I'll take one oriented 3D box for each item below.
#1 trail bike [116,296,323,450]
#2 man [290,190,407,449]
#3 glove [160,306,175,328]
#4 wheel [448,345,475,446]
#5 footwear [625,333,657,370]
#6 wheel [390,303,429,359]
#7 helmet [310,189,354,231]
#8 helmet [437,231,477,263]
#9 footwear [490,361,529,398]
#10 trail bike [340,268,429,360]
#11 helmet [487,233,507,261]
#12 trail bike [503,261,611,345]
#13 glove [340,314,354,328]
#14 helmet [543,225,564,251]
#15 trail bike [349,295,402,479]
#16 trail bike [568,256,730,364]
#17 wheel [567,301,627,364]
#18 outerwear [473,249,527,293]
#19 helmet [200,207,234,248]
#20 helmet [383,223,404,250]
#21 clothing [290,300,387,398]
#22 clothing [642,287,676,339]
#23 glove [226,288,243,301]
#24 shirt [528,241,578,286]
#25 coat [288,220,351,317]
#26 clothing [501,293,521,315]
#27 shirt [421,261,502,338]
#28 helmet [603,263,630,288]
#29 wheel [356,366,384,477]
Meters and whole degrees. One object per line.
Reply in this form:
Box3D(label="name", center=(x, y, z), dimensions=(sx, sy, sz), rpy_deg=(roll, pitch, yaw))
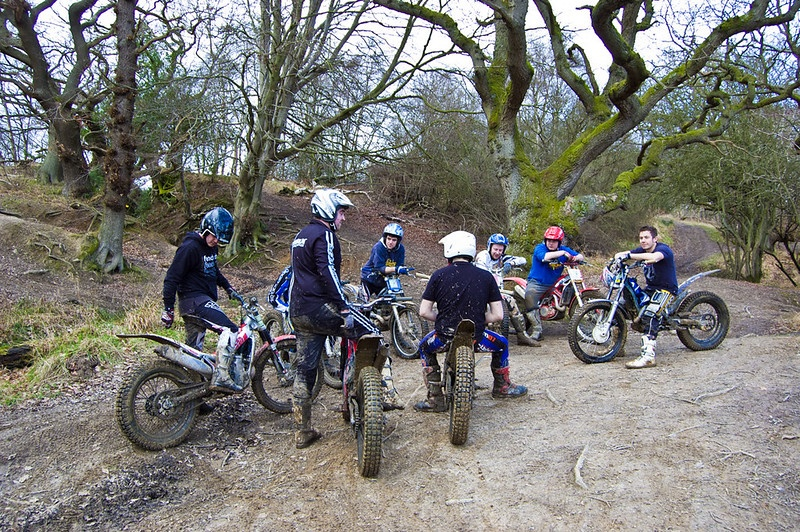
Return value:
Box3D(label="trail bike", center=(-2.807, 1.514, 9.002), dimensions=(1.070, 2.076, 3.334), rpy_deg=(-5, -1, 39))
Box3D(label="man", center=(-0.766, 0.674, 8.328), dimensions=(1.595, 3.543, 1.445), rpy_deg=(-2, 1, -18))
Box3D(label="glove", center=(-3.390, 0.751, 8.435), dimensions=(0.229, 0.323, 0.141), rpy_deg=(12, -12, -22))
Box3D(label="wheel", center=(0.857, 1.792, 8.020), dimensions=(0.303, 1.303, 0.529), rpy_deg=(2, 6, 7))
Box3D(label="footwear", center=(4.138, 1.467, 9.903), dimensions=(0.526, 0.518, 0.412), rpy_deg=(2, 6, 8))
Box3D(label="wheel", center=(0.175, 1.184, 10.753), dimensions=(1.042, 1.065, 0.440), rpy_deg=(-3, 4, 42))
Box3D(label="helmet", center=(-0.967, -0.809, 8.275), dimensions=(0.597, 0.602, 0.468), rpy_deg=(-1, 1, -7))
Box3D(label="helmet", center=(0.859, -0.303, 8.567), dimensions=(0.461, 0.383, 0.351), rpy_deg=(-2, 3, 16))
Box3D(label="footwear", center=(1.643, 1.772, 9.129), dimensions=(0.656, 0.646, 0.318), rpy_deg=(-4, 15, -1))
Box3D(label="trail bike", center=(-0.424, 0.826, 11.690), dimensions=(1.228, 1.707, 2.753), rpy_deg=(-3, 5, -42))
Box3D(label="helmet", center=(2.084, -0.391, 11.810), dimensions=(0.406, 0.595, 0.569), rpy_deg=(1, 4, -5))
Box3D(label="trail bike", center=(3.118, 0.603, 11.942), dimensions=(0.829, 1.508, 2.414), rpy_deg=(8, -8, -40))
Box3D(label="glove", center=(-0.706, 0.747, 7.795), dimensions=(0.154, 0.167, 0.179), rpy_deg=(1, -12, 7))
Box3D(label="helmet", center=(3.170, -0.609, 11.753), dimensions=(0.346, 0.483, 0.486), rpy_deg=(5, 25, 29))
Box3D(label="trail bike", center=(-0.465, 1.749, 7.699), dimensions=(0.841, 1.196, 1.758), rpy_deg=(1, 18, -7))
Box3D(label="trail bike", center=(4.573, 0.732, 10.565), dimensions=(3.070, 1.897, 1.216), rpy_deg=(-4, 0, -6))
Box3D(label="wheel", center=(3.571, 1.204, 10.398), dimensions=(0.958, 1.030, 0.256), rpy_deg=(-3, 9, -13))
Box3D(label="outerwear", center=(1.965, 0.001, 11.256), dimensions=(0.749, 0.719, 1.130), rpy_deg=(21, -1, -4))
Box3D(label="helmet", center=(-2.748, -0.630, 8.827), dimensions=(0.463, 0.591, 0.620), rpy_deg=(-3, 30, -41))
Box3D(label="helmet", center=(-0.134, -0.617, 11.253), dimensions=(0.359, 0.504, 0.494), rpy_deg=(6, 31, 0))
Box3D(label="clothing", center=(-0.841, 0.985, 8.039), dimensions=(0.942, 1.630, 0.882), rpy_deg=(-1, -5, 43))
Box3D(label="clothing", center=(4.556, 0.831, 10.219), dimensions=(0.328, 0.843, 0.759), rpy_deg=(7, 8, 43))
Box3D(label="glove", center=(-2.679, 0.463, 9.275), dimensions=(0.200, 0.171, 0.631), rpy_deg=(3, 1, -21))
Box3D(label="shirt", center=(3.013, -0.032, 11.988), dimensions=(0.790, 0.978, 0.891), rpy_deg=(22, -5, -19))
Box3D(label="coat", center=(-1.275, 0.043, 8.305), dimensions=(0.690, 1.313, 1.423), rpy_deg=(0, -3, -27))
Box3D(label="clothing", center=(2.173, 0.750, 11.398), dimensions=(0.365, 0.131, 0.256), rpy_deg=(46, -6, -7))
Box3D(label="shirt", center=(0.953, 0.465, 8.570), dimensions=(1.146, 1.154, 0.579), rpy_deg=(1, 22, 9))
Box3D(label="helmet", center=(3.951, 0.129, 10.588), dimensions=(0.428, 0.447, 0.339), rpy_deg=(1, 16, 14))
Box3D(label="wheel", center=(-0.400, 2.066, 7.542), dimensions=(0.324, 1.090, 1.075), rpy_deg=(2, -18, -7))
